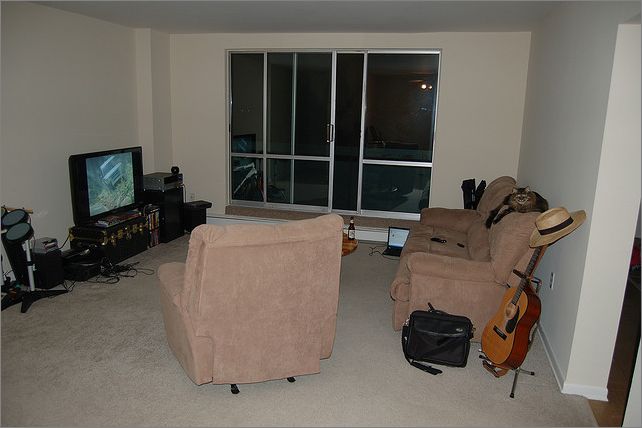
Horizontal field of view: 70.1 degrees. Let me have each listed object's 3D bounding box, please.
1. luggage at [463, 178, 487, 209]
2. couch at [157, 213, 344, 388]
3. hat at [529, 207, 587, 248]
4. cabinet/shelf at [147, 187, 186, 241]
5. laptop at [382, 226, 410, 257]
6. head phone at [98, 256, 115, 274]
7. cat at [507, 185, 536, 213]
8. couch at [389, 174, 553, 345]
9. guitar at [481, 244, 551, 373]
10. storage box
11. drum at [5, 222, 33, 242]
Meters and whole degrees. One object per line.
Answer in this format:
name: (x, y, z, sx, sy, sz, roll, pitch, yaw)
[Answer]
luggage: (2.291, -0.302, 6.813, 0.160, 0.404, 0.410, -8, 10, -41)
couch: (-0.682, 0.722, 4.398, 1.567, 1.461, 1.237, -3, 13, -35)
hat: (2.067, 0.103, 4.036, 0.402, 0.129, 0.359, -25, 22, 20)
cabinet/shelf: (-2.417, -0.003, 7.074, 0.401, 0.717, 0.740, 0, 10, -1)
laptop: (1.117, 0.397, 6.917, 0.475, 0.343, 0.392, 7, 16, 20)
head phone: (-2.807, 0.678, 6.005, 0.187, 0.208, 0.217, -8, 16, -39)
cat: (2.181, -0.155, 4.989, 0.226, 0.219, 0.297, -6, 15, 36)
couch: (1.689, 0.399, 5.713, 1.348, 1.435, 2.467, 6, 15, 16)
guitar: (1.756, 0.844, 4.199, 0.441, 1.152, 0.347, 7, 14, 20)
storage box: (-2.954, 0.355, 6.469, 0.620, 0.474, 0.965, 5, 12, 11)
drum: (-3.366, 0.205, 5.100, 0.259, 0.208, 0.195, -7, 15, -35)
